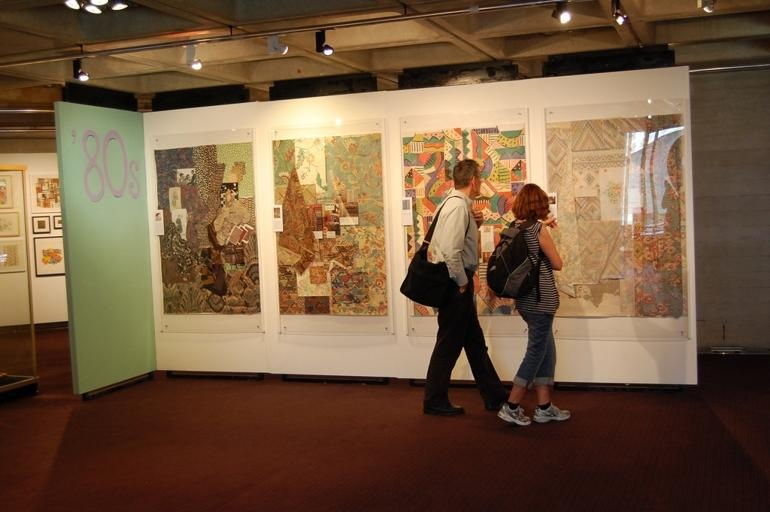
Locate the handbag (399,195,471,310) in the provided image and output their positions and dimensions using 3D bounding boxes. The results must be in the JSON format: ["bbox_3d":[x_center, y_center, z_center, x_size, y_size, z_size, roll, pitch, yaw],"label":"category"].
[{"bbox_3d":[0.453,0.008,5.713,0.577,1.091,0.353,-2,7,9],"label":"handbag"}]

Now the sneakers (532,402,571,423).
[{"bbox_3d":[1.707,1.629,5.655,0.427,0.193,0.171,-2,0,-9],"label":"sneakers"}]

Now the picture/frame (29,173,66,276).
[{"bbox_3d":[-7.313,-0.631,11.659,0.623,2.152,0.254,-7,8,-30],"label":"picture/frame"}]

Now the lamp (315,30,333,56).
[{"bbox_3d":[-0.702,-2.408,6.123,0.151,0.317,0.424,-4,8,-7],"label":"lamp"}]

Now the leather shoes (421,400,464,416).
[{"bbox_3d":[0.629,1.618,5.840,0.436,0.186,0.169,-2,-6,11],"label":"leather shoes"}]

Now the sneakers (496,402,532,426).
[{"bbox_3d":[1.316,1.616,5.588,0.402,0.194,0.167,12,6,-12],"label":"sneakers"}]
